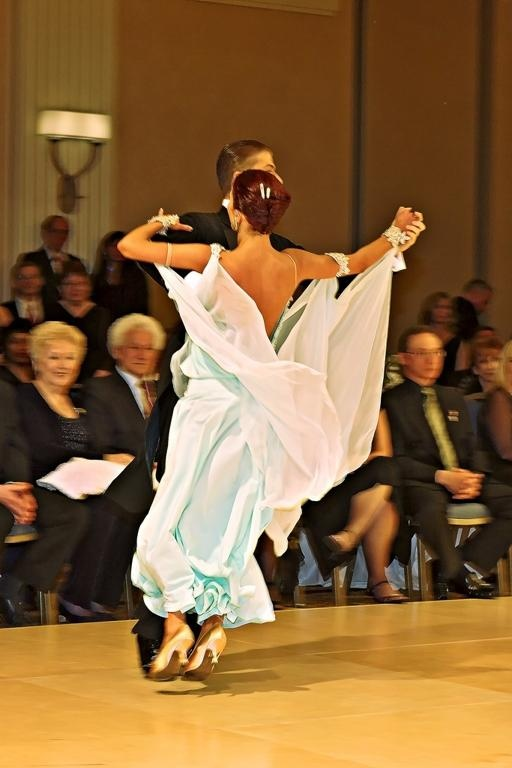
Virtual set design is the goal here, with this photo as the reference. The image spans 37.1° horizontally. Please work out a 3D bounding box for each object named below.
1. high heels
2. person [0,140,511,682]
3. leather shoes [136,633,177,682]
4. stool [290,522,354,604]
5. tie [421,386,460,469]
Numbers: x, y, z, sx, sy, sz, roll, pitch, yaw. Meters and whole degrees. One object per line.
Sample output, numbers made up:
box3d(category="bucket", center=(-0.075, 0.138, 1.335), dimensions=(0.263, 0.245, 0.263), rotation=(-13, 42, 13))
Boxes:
box3d(category="high heels", center=(-0.165, 0.679, 1.919), dimensions=(0.116, 0.086, 0.212), rotation=(24, -42, -25))
box3d(category="person", center=(0.084, 0.035, 2.367), dimensions=(0.506, 1.546, 1.188), rotation=(-8, -13, 43))
box3d(category="leather shoes", center=(-0.268, 0.716, 2.052), dimensions=(0.063, 0.185, 0.079), rotation=(7, 32, -1))
box3d(category="stool", center=(0.323, 0.870, 3.488), dimensions=(0.217, 0.488, 0.157), rotation=(-6, 19, -15))
box3d(category="tie", center=(0.905, 0.220, 3.776), dimensions=(0.119, 0.473, 0.058), rotation=(-14, -16, -12))
